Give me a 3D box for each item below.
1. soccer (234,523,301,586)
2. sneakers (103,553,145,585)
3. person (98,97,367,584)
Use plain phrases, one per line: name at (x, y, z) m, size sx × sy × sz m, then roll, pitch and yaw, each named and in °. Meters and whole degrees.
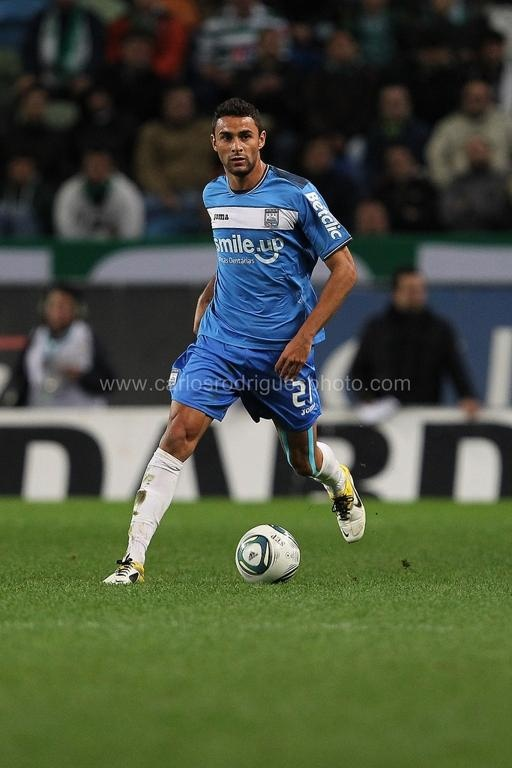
soccer at (0.041, 0.701, 3.572) m, size 0.258 × 0.260 × 0.269 m, roll -6°, pitch -15°, yaw 41°
sneakers at (-0.505, 0.715, 3.294) m, size 0.073 × 0.080 × 0.203 m, roll 12°, pitch -10°, yaw 15°
person at (0.066, -0.089, 3.577) m, size 0.654 × 1.663 × 1.397 m, roll 9°, pitch 10°, yaw 41°
